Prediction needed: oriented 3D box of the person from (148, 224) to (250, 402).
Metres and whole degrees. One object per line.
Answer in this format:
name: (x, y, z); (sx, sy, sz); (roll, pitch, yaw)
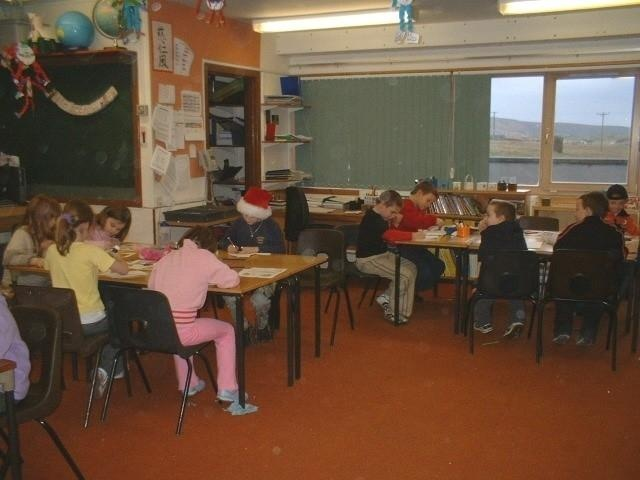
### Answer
person: (-0.840, 0.558, 3.756); (0.579, 1.250, 0.396); (-5, 14, -19)

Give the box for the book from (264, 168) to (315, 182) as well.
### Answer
book: (-0.442, -0.877, 7.420); (0.624, 0.140, 0.250); (-3, 14, -12)

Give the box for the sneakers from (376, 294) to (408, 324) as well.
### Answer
sneakers: (0.685, 0.672, 5.560); (0.153, 0.195, 0.448); (-4, 0, -20)

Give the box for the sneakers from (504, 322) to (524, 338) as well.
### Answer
sneakers: (1.744, 0.814, 4.992); (0.103, 0.173, 0.071); (16, 43, -16)

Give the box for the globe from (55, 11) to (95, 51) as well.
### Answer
globe: (-2.500, -2.138, 5.612); (0.326, 0.368, 0.334); (27, 46, 26)

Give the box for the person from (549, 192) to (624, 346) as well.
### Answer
person: (2.292, 0.283, 4.788); (0.456, 1.331, 0.741); (12, 19, 43)

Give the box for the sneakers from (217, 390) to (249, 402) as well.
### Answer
sneakers: (-0.615, 1.065, 3.821); (0.185, 0.082, 0.062); (3, -1, -45)

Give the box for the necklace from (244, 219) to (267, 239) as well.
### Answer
necklace: (-0.569, -0.089, 5.016); (0.121, 0.168, 0.157); (-2, -20, -9)

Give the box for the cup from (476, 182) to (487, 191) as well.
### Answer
cup: (1.977, -0.661, 6.779); (0.110, 0.085, 0.112); (0, 10, 0)

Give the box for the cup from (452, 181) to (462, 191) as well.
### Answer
cup: (1.720, -0.686, 6.968); (0.141, 0.143, 0.145); (-1, 1, 0)

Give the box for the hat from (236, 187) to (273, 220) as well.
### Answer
hat: (-0.578, -0.294, 4.993); (0.282, 0.194, 0.287); (24, 3, 9)

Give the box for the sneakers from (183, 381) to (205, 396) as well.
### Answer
sneakers: (-0.923, 1.094, 4.066); (0.063, 0.085, 0.179); (4, 16, 19)

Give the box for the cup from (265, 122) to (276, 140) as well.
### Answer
cup: (-0.664, -1.429, 7.295); (0.138, 0.243, 0.198); (-2, 14, -5)

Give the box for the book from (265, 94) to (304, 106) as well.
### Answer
book: (-0.502, -1.860, 7.367); (0.524, 0.156, 0.292); (-2, 14, -7)

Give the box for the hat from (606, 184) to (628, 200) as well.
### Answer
hat: (2.956, -0.480, 5.521); (0.134, 0.113, 0.183); (0, 11, 27)
